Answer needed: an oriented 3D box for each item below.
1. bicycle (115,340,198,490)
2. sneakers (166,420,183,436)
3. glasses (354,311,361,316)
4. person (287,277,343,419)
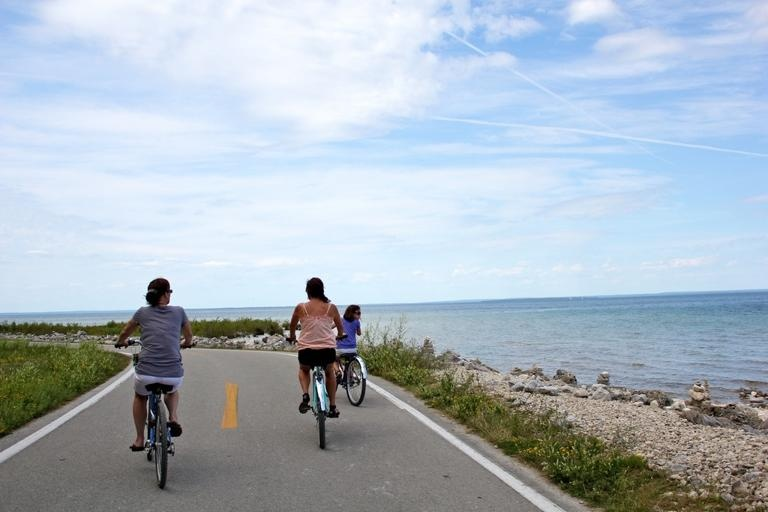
[{"bbox_3d":[-3.518,2.651,9.153,1.003,1.344,2.194,1,-1,-22],"label":"bicycle"},{"bbox_3d":[-3.210,2.670,8.797,0.120,0.374,0.161,-25,-23,-34],"label":"sneakers"},{"bbox_3d":[-0.657,1.371,13.784,0.170,0.056,0.164,1,0,6],"label":"glasses"},{"bbox_3d":[-1.292,1.766,10.717,0.957,2.692,1.227,2,-3,-4],"label":"person"}]
